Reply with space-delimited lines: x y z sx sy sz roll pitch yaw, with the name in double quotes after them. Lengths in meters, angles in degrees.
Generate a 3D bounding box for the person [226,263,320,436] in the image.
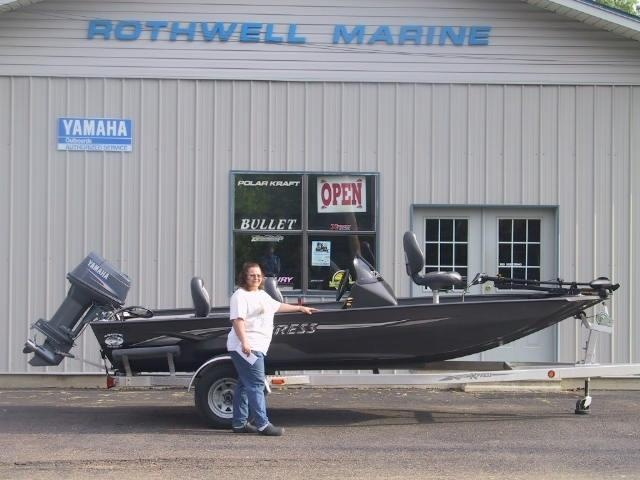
-0.877 1.573 21.778 0.877 2.421 0.463 0 -2 -27 "person"

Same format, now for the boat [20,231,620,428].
-0.218 1.312 22.653 7.839 2.787 2.158 0 -2 -7 "boat"

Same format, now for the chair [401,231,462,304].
1.696 0.535 22.852 1.048 1.144 0.811 7 -6 -1 "chair"

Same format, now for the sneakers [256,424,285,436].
-0.683 2.705 21.799 0.360 0.123 0.150 -1 2 -3 "sneakers"

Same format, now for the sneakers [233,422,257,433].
-1.048 2.692 21.915 0.383 0.132 0.128 0 1 -11 "sneakers"
